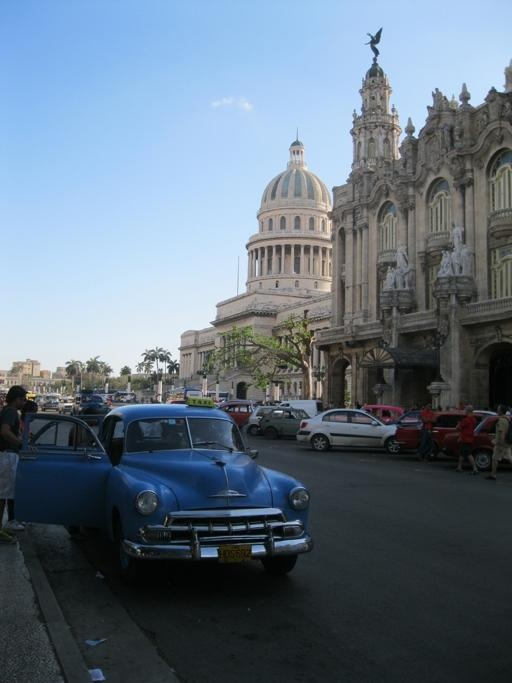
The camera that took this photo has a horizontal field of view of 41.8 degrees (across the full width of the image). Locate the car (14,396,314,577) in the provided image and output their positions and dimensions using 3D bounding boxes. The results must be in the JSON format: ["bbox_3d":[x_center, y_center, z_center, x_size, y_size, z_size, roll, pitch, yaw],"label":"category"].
[{"bbox_3d":[-0.912,1.309,6.422,1.779,0.912,2.328,7,-12,-28],"label":"car"}]

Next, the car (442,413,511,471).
[{"bbox_3d":[5.814,2.723,18.747,2.236,1.023,1.216,-1,0,-6],"label":"car"}]

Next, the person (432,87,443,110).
[{"bbox_3d":[11.591,-15.694,42.828,0.591,1.359,1.934,4,-4,14],"label":"person"}]

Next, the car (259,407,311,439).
[{"bbox_3d":[1.267,3.703,31.028,2.177,0.907,1.258,-2,-1,3],"label":"car"}]

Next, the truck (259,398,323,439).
[{"bbox_3d":[1.495,3.601,31.354,3.017,1.374,1.753,-4,-1,6],"label":"truck"}]
